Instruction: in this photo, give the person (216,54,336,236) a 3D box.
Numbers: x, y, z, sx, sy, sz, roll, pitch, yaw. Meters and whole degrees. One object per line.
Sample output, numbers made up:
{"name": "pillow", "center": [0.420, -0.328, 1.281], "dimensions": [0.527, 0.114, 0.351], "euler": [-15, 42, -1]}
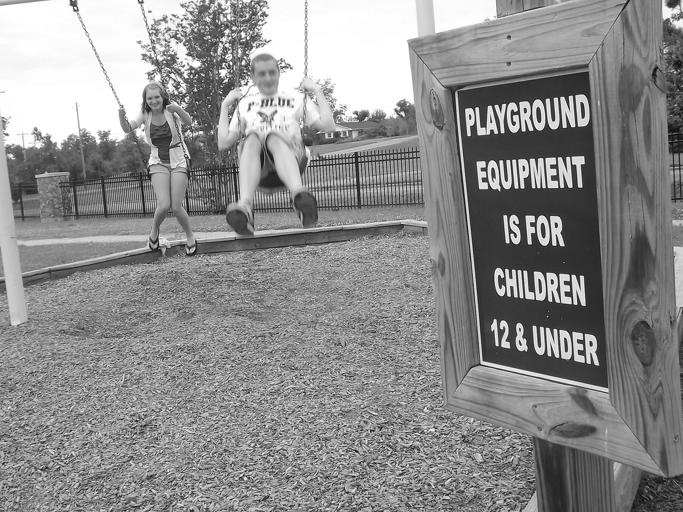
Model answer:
{"name": "person", "center": [-0.591, -1.009, 4.838], "dimensions": [1.020, 1.575, 0.713], "euler": [-7, 12, -10]}
